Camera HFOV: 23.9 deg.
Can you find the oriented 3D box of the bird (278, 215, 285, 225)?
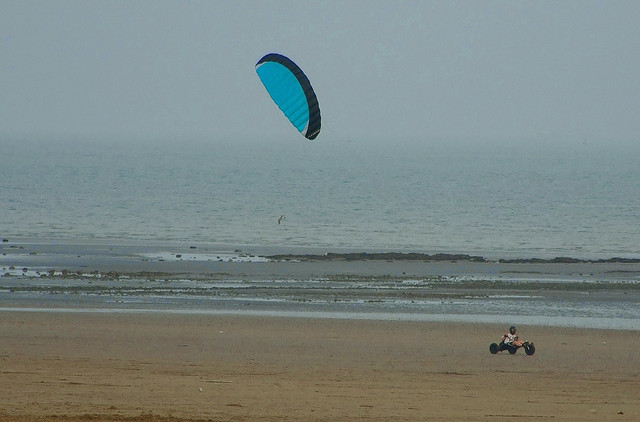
[{"bbox_3d":[-2.829,0.411,105.091,0.436,0.165,0.419,-20,12,14],"label":"bird"}]

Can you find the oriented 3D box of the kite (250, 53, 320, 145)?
[{"bbox_3d":[-1.868,-6.409,84.651,3.537,4.310,2.581,5,-15,-16],"label":"kite"}]

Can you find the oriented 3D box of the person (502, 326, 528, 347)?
[{"bbox_3d":[9.156,5.999,72.898,1.159,0.978,0.295,2,-15,-3],"label":"person"}]
